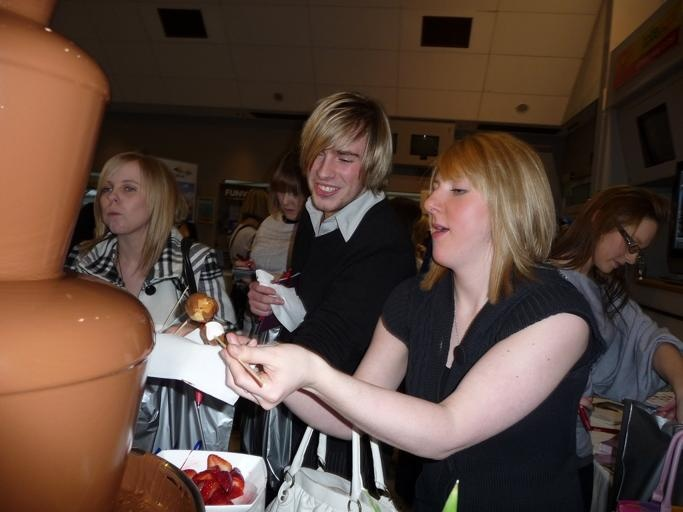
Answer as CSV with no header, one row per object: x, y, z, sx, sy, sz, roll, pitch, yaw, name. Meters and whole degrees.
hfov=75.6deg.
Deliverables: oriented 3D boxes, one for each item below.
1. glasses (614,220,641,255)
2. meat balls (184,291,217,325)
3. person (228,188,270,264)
1.292,-0.080,2.002,0.034,0.118,0.113,-28,-33,14,glasses
-0.259,0.100,0.832,0.056,0.063,0.073,-6,23,-12,meat balls
-0.809,-0.201,3.894,0.251,0.776,0.265,6,-2,15,person
